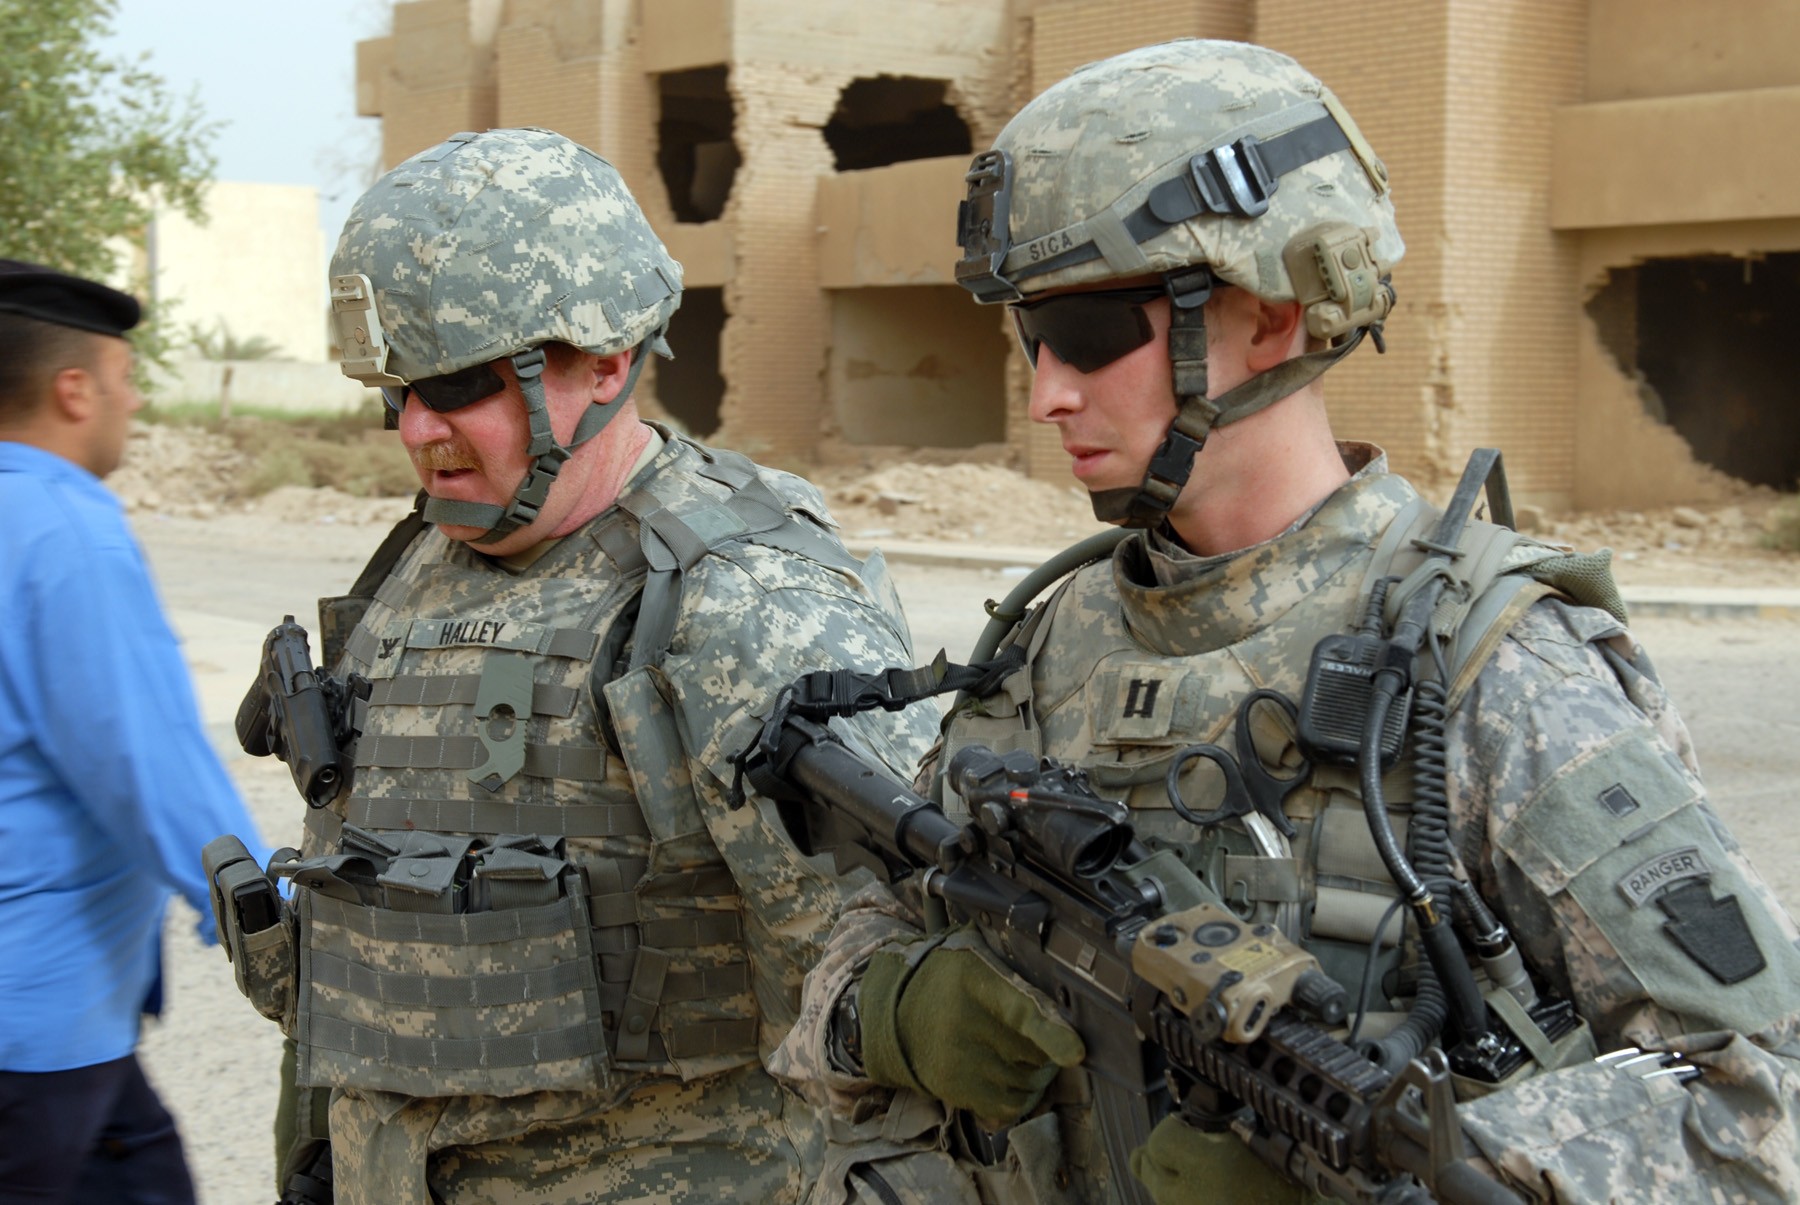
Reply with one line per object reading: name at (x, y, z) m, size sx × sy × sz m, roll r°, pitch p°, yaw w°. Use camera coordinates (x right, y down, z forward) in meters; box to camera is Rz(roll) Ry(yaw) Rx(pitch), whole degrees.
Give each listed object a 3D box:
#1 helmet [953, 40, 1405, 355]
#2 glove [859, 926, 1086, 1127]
helmet at (0.490, -0.814, 3.750) m, size 0.640 × 0.486 × 0.579 m, roll -17°, pitch 9°, yaw -2°
glove at (0.101, 0.743, 3.502) m, size 0.381 × 0.289 × 0.171 m, roll -11°, pitch 12°, yaw 38°
